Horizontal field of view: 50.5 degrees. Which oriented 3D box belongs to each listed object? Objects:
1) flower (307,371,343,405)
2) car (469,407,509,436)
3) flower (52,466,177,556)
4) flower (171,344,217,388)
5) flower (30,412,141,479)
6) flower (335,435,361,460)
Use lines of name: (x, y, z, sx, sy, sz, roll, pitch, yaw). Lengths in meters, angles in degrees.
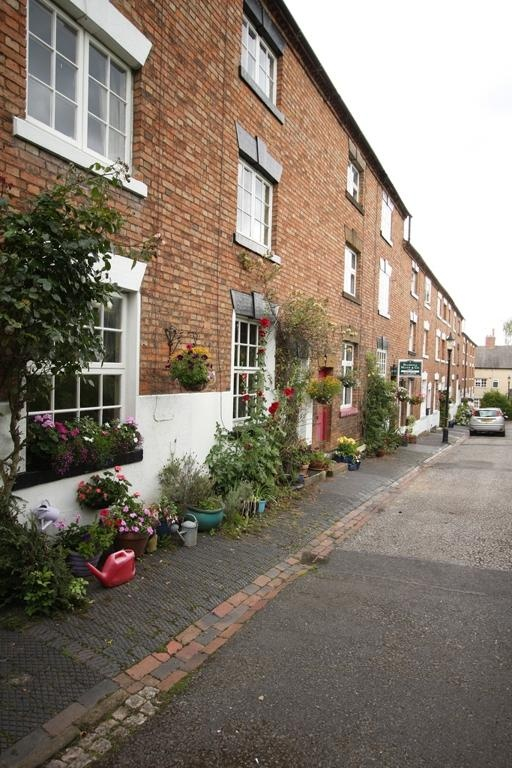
flower: (1.331, 0.108, 10.507, 0.548, 0.750, 0.686, -4, -7, 15)
car: (11.636, 1.881, 27.459, 0.943, 0.893, 2.243, 1, 9, 23)
flower: (-1.353, 1.163, 5.013, 0.640, 0.663, 0.831, 1, -6, -28)
flower: (-0.710, -0.223, 6.209, 0.478, 0.557, 0.446, 5, -9, -44)
flower: (-1.530, 0.555, 5.112, 0.366, 0.515, 1.096, -11, -7, 41)
flower: (2.039, 1.404, 12.121, 0.442, 0.382, 0.476, -3, 2, 17)
